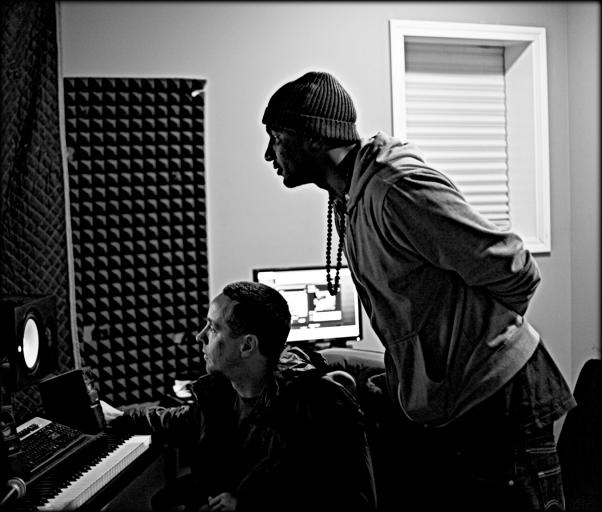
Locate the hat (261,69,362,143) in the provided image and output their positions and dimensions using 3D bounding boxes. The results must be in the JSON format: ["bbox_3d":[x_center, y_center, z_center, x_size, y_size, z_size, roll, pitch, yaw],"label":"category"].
[{"bbox_3d":[0.040,-0.522,2.457,0.243,0.186,0.236,13,14,22],"label":"hat"}]

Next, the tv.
[{"bbox_3d":[0.025,0.252,3.337,0.378,0.341,0.054,-1,-5,-7],"label":"tv"}]

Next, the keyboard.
[{"bbox_3d":[-0.991,0.700,2.845,0.224,0.146,0.307,-3,3,25],"label":"keyboard"}]
